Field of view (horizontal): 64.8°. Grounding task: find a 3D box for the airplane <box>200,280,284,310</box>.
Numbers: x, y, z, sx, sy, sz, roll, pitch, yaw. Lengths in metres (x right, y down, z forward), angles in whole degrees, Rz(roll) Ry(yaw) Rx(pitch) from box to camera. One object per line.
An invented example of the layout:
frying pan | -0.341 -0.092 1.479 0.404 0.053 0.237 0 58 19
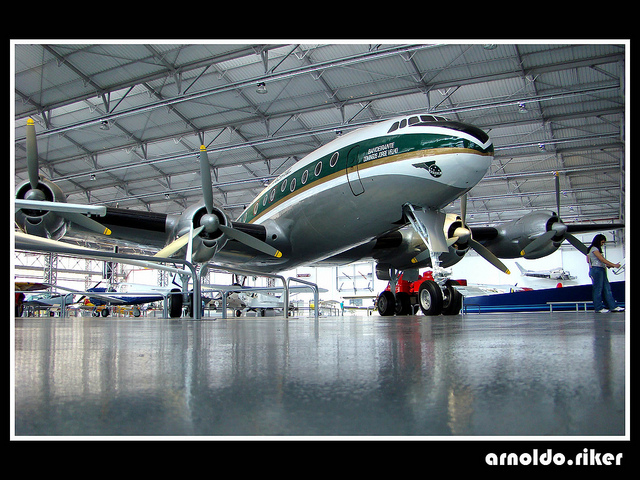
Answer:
airplane | -3.683 2.682 23.892 4.504 1.068 4.442 8 -10 -24

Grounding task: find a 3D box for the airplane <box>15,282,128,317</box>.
airplane | -13.166 3.132 26.751 5.723 1.061 7.589 9 -7 -34

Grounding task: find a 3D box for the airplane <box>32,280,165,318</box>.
airplane | -13.704 3.682 30.776 5.903 1.938 7.253 8 -8 -43
